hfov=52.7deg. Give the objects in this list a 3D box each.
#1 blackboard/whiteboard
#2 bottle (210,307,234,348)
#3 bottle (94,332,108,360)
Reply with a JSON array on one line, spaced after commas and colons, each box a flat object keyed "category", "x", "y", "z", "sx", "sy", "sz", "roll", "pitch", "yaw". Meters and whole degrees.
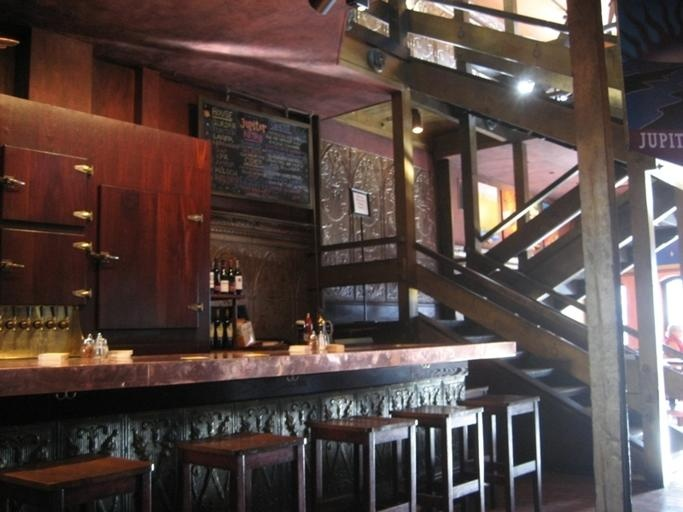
[{"category": "blackboard/whiteboard", "x": -0.964, "y": -1.095, "z": 7.373, "sx": 1.189, "sy": 0.912, "sz": 0.044, "roll": 6, "pitch": -8, "yaw": -43}, {"category": "bottle", "x": -1.172, "y": 0.687, "z": 6.698, "sx": 0.196, "sy": 0.461, "sz": 0.445, "roll": -1, "pitch": -13, "yaw": -12}, {"category": "bottle", "x": -1.551, "y": 0.582, "z": 4.441, "sx": 0.089, "sy": 0.170, "sz": 0.270, "roll": 1, "pitch": -13, "yaw": -19}]
